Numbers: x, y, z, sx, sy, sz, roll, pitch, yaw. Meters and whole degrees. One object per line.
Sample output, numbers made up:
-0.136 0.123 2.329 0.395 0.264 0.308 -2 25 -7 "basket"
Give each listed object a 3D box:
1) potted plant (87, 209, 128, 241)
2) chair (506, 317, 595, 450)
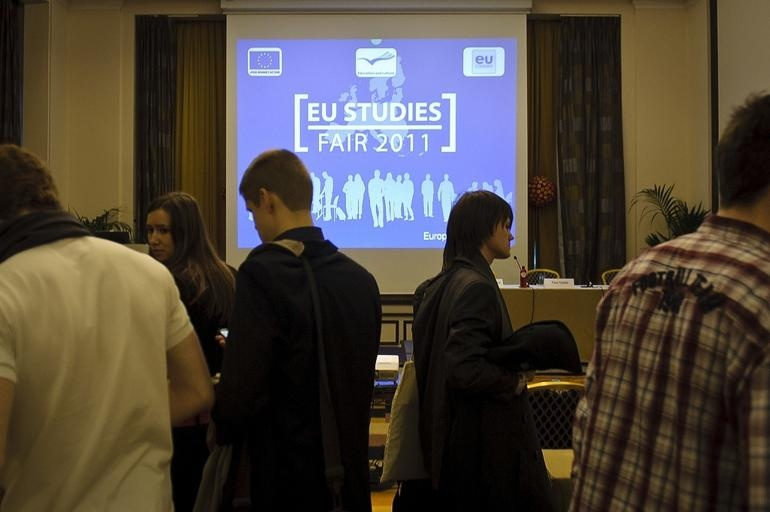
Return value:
-2.541 -0.291 6.532 0.383 0.275 0.407 0 -6 5 "potted plant"
0.728 0.569 3.257 0.421 0.634 0.210 1 19 11 "chair"
